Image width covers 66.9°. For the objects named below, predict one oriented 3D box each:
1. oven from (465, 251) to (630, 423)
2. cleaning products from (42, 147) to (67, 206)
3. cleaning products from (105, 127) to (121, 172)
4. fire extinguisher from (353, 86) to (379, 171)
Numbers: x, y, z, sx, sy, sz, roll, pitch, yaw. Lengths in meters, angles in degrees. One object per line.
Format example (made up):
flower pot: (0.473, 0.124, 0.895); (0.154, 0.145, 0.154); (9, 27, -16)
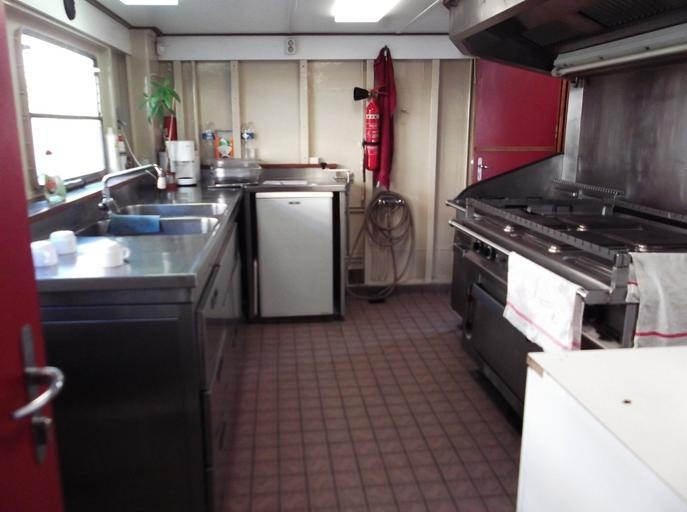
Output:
oven: (1.033, 0.387, 2.877); (0.663, 0.743, 0.825); (-1, 12, -7)
cleaning products: (-1.395, -0.379, 2.463); (0.096, 0.253, 0.101); (-12, 43, -23)
cleaning products: (-1.576, -0.704, 3.529); (0.081, 0.335, 0.082); (-6, -5, 13)
fire extinguisher: (0.207, -1.099, 4.537); (0.242, 0.730, 0.172); (-1, 12, -3)
